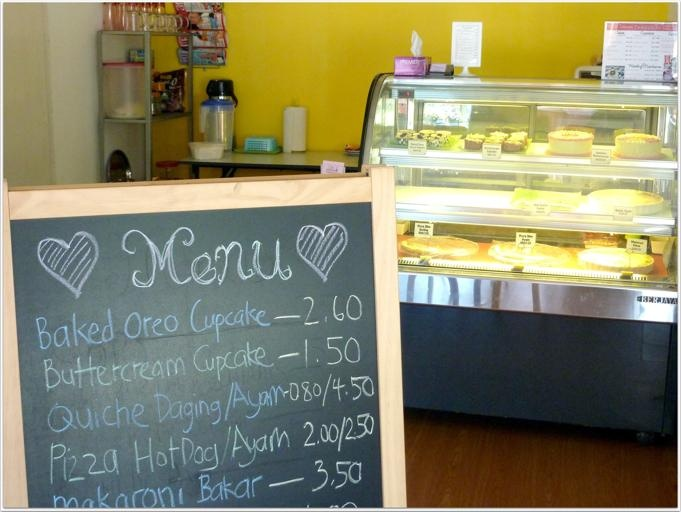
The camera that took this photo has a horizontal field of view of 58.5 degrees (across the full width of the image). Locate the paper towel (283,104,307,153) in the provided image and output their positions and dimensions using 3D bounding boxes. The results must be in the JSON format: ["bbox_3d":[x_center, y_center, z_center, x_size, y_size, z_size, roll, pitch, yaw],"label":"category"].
[{"bbox_3d":[-0.371,-1.090,5.194,0.255,0.379,0.229,-2,13,-11],"label":"paper towel"}]

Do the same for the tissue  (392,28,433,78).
[{"bbox_3d":[0.388,-1.060,3.225,0.183,0.290,0.290,0,0,10],"label":"tissue "}]

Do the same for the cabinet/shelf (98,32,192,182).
[{"bbox_3d":[-1.547,-1.159,4.729,0.515,1.179,0.766,0,0,7],"label":"cabinet/shelf"}]

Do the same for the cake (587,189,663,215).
[{"bbox_3d":[1.395,-0.265,2.972,0.343,0.135,0.132,0,0,24],"label":"cake"}]

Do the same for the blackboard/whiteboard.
[{"bbox_3d":[-0.428,0.263,1.842,1.034,1.038,0.366,-1,5,-4],"label":"blackboard/whiteboard"}]
